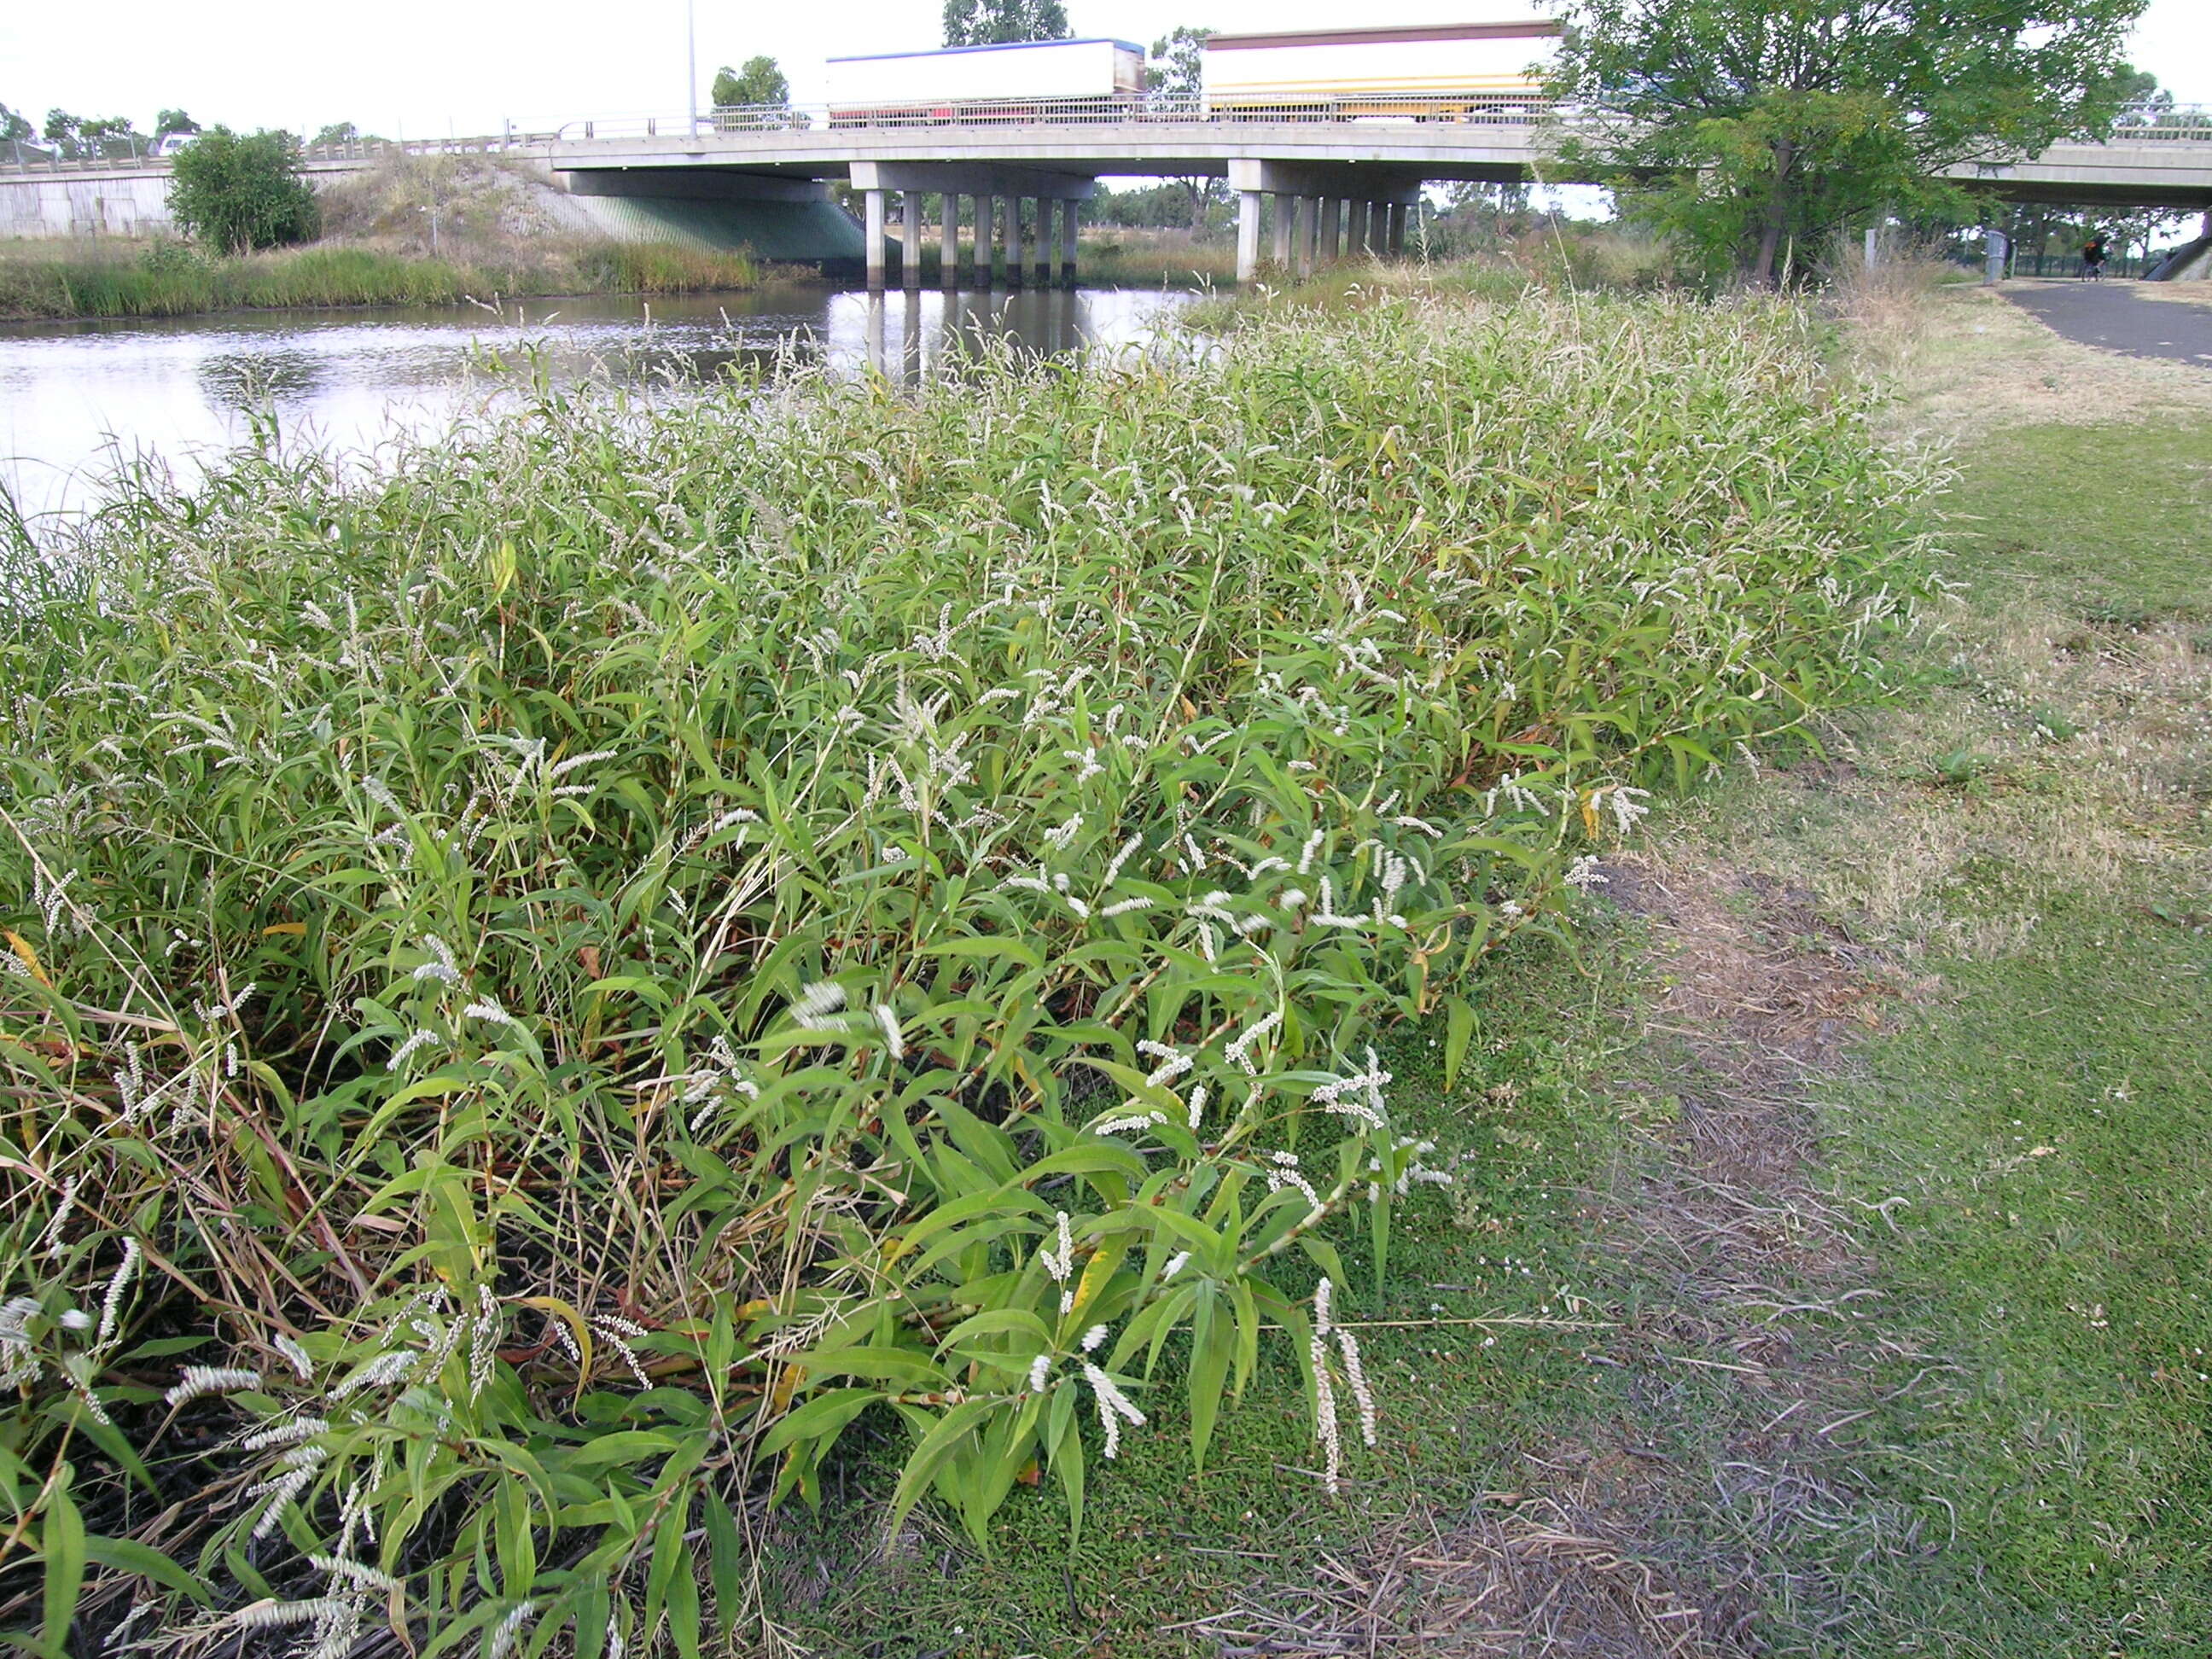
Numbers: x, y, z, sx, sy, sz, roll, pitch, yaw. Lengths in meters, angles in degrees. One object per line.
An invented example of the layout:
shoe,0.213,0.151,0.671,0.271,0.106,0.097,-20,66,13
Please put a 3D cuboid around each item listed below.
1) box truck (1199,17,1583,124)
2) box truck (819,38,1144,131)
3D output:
box truck,6.259,-18.345,34.343,8.767,1.964,1.127,18,27,34
box truck,-3.828,-21.506,40.752,9.527,1.892,1.514,13,25,25
